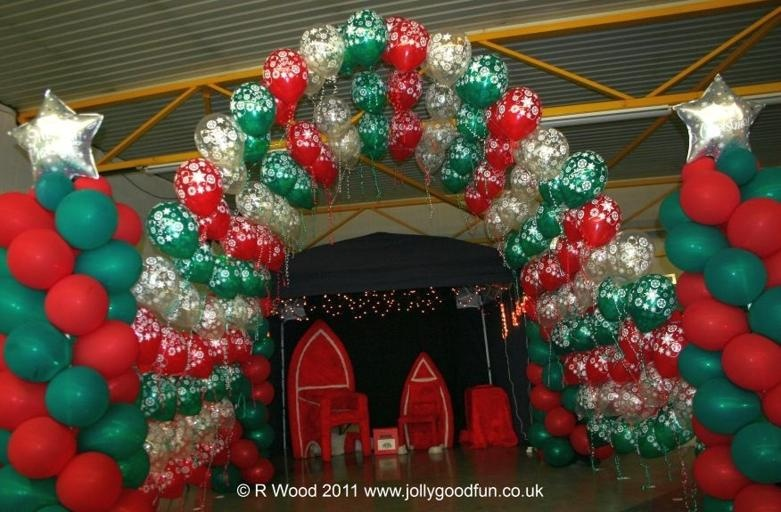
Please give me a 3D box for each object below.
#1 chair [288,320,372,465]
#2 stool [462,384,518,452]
[{"bbox_3d":[-0.736,1.652,9.100,0.936,1.006,1.741,-6,80,11],"label":"chair"},{"bbox_3d":[1.169,1.842,9.084,0.675,0.760,0.676,-8,26,-3],"label":"stool"}]
